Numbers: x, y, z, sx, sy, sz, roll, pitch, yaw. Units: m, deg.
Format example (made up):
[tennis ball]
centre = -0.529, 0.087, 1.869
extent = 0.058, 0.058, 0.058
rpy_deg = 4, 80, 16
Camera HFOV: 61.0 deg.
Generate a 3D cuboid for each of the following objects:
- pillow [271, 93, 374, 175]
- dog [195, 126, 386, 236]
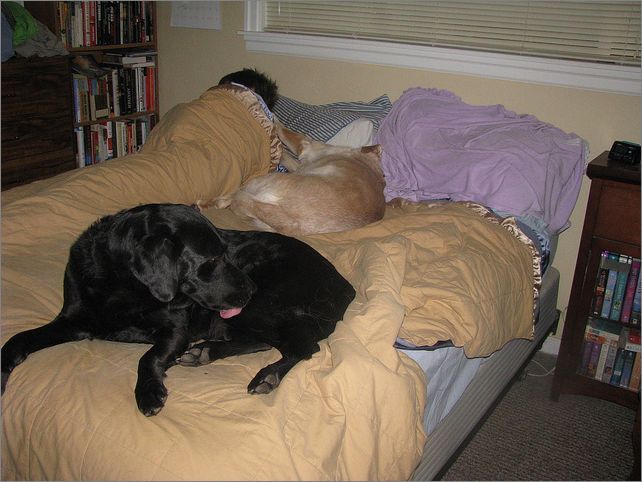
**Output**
[pillow]
centre = 0.026, -0.676, 3.552
extent = 0.674, 0.246, 0.372
rpy_deg = 22, 43, 22
[dog]
centre = 0.058, -0.307, 2.976
extent = 0.598, 0.311, 0.818
rpy_deg = 32, 40, 27
